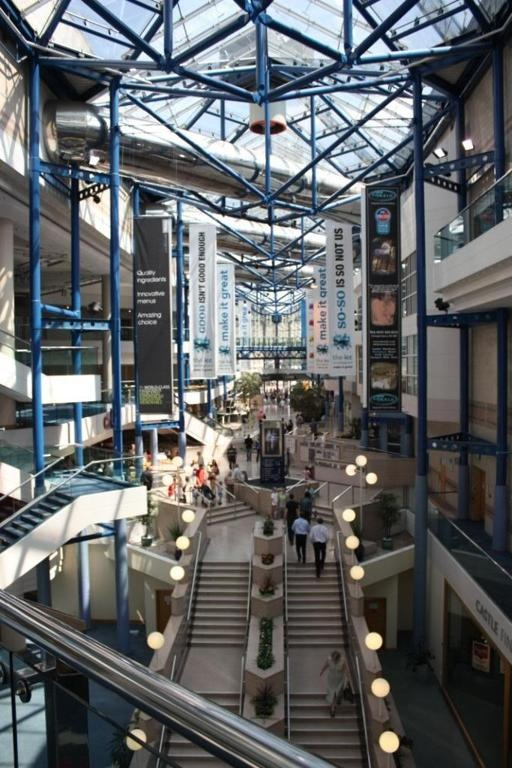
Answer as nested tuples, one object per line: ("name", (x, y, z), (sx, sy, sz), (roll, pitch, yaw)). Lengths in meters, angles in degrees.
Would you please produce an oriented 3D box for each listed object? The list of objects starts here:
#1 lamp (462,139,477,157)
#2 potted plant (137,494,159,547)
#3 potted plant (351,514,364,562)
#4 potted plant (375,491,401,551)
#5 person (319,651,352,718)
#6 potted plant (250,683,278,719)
("lamp", (5.771, -6.400, 17.117), (0.436, 0.485, 0.125), (20, 44, 42))
("potted plant", (-3.511, 4.409, 20.781), (0.590, 1.359, 1.974), (-3, 2, -9))
("potted plant", (3.034, 4.642, 18.725), (0.374, 1.064, 1.565), (-2, 2, 9))
("potted plant", (4.283, 4.395, 20.494), (0.740, 1.492, 2.587), (-2, 2, 13))
("person", (1.547, 5.738, 12.314), (0.513, 1.317, 0.402), (-4, 20, -5))
("potted plant", (0.159, 5.872, 11.704), (0.328, 0.520, 0.376), (0, -5, -8))
